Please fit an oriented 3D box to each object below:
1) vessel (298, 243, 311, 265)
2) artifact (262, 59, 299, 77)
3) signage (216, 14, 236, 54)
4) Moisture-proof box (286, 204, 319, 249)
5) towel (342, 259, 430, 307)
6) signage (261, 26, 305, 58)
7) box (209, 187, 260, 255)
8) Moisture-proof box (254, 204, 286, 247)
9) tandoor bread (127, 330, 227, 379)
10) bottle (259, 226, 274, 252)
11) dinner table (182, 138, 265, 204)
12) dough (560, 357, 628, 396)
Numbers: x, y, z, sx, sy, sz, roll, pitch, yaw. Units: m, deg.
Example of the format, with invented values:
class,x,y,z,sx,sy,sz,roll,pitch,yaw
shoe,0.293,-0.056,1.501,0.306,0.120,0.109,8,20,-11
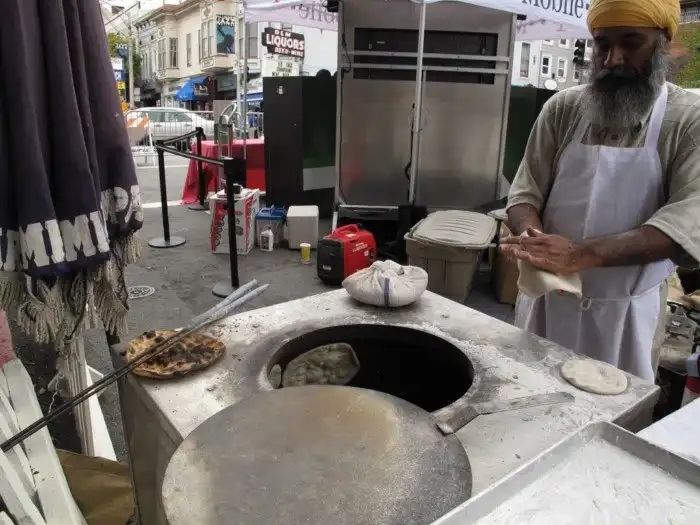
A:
class,x,y,z,sx,sy,sz,roll,pitch,yaw
vessel,-0.574,-0.140,6.259,0.123,0.260,0.308,-2,18,-4
artifact,-3.708,-10.398,26.086,2.129,0.836,0.622,-13,21,-35
signage,-6.982,-12.803,27.518,1.134,1.997,1.210,-4,18,-13
Moisture-proof box,-0.686,-0.513,6.930,0.464,0.489,0.639,-2,21,-7
towel,0.166,0.100,2.188,0.222,0.128,0.290,1,8,13
signage,-3.313,-10.956,24.567,0.659,1.169,2.787,10,20,30
box,-1.592,-0.542,6.751,0.468,0.786,0.878,1,9,1
Moisture-proof box,-1.104,-0.537,7.064,0.382,0.545,0.527,0,9,-1
tandoor bread,-0.632,0.335,1.758,0.216,0.042,0.198,1,21,-13
bottle,-1.149,-0.308,6.702,0.206,0.272,0.274,-4,18,-11
dinner table,-2.474,-1.909,9.699,1.377,0.910,1.644,-7,23,-20
dough,0.860,0.395,1.725,0.209,0.033,0.207,15,23,39
